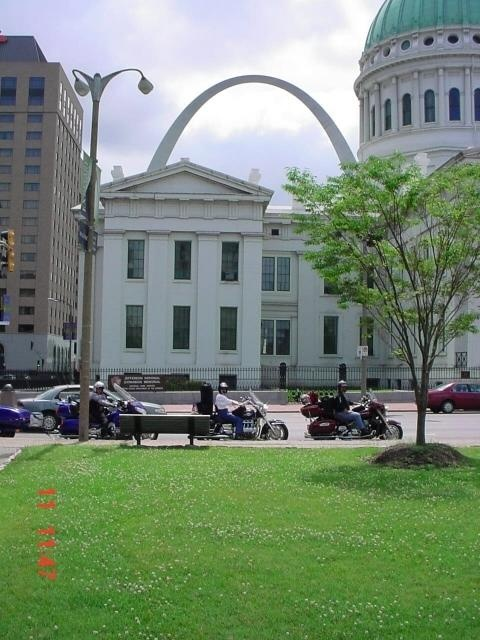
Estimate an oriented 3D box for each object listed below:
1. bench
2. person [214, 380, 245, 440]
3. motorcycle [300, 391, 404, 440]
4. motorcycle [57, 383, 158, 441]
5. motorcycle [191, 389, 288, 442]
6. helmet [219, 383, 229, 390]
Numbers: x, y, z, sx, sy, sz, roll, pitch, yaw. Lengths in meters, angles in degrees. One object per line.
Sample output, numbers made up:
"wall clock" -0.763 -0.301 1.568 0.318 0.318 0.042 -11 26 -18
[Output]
"bench" -1.486 2.248 16.292 1.764 0.637 0.977 2 0 1
"person" -0.234 2.005 17.898 0.613 1.184 1.203 1 0 -2
"motorcycle" 2.571 2.222 18.309 2.126 1.504 1.002 -3 3 7
"motorcycle" -3.011 2.125 18.676 2.163 1.613 1.094 1 9 -5
"motorcycle" 0.195 2.249 18.209 1.825 1.317 1.118 0 -5 -12
"helmet" -0.342 1.491 17.491 0.165 0.214 0.150 -10 1 9
